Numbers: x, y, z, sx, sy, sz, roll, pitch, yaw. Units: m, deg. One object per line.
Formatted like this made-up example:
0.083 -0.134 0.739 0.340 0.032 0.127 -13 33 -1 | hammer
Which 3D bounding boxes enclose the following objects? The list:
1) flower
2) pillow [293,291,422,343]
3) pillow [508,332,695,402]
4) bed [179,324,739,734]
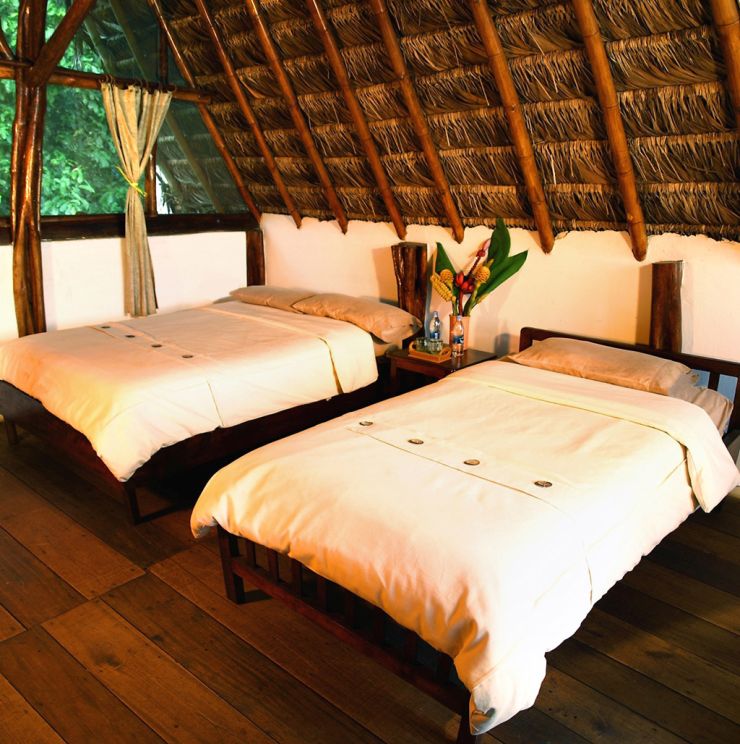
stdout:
0.565 -0.547 3.269 0.497 0.501 0.234 7 17 37 | flower
-0.119 -0.376 3.693 0.625 0.141 0.325 12 21 36 | pillow
1.014 -0.036 2.657 0.579 0.093 0.299 11 20 37 | pillow
0.519 0.291 1.836 1.397 0.475 0.997 -19 25 -39 | bed
